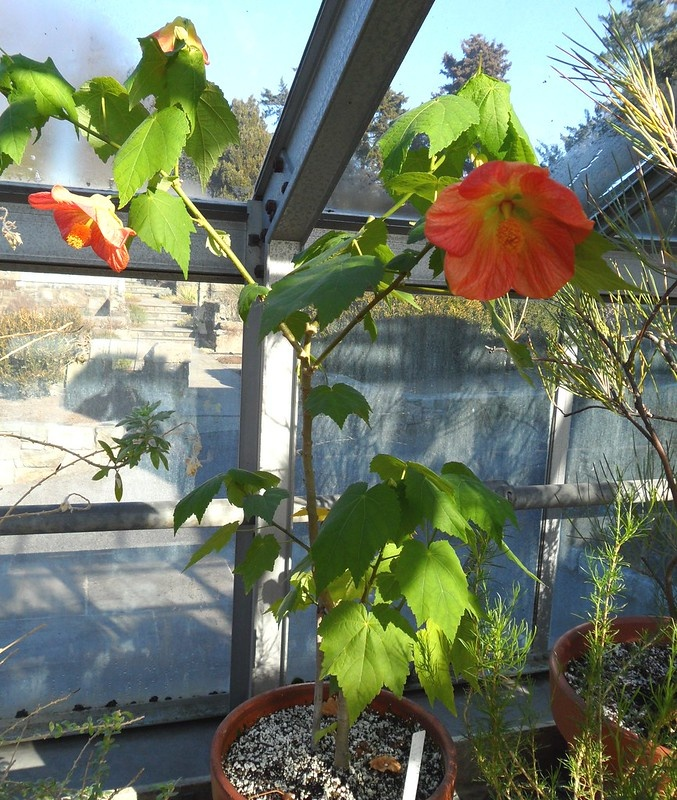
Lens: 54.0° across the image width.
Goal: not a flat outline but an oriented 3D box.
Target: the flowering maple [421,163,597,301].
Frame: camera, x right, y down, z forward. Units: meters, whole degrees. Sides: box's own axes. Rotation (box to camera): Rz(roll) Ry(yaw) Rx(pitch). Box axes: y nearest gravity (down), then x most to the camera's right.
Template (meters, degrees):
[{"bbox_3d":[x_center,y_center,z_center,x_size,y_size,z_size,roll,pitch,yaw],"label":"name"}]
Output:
[{"bbox_3d":[0.148,-0.150,0.582,0.125,0.120,0.041,-7,35,8],"label":"flowering maple"}]
